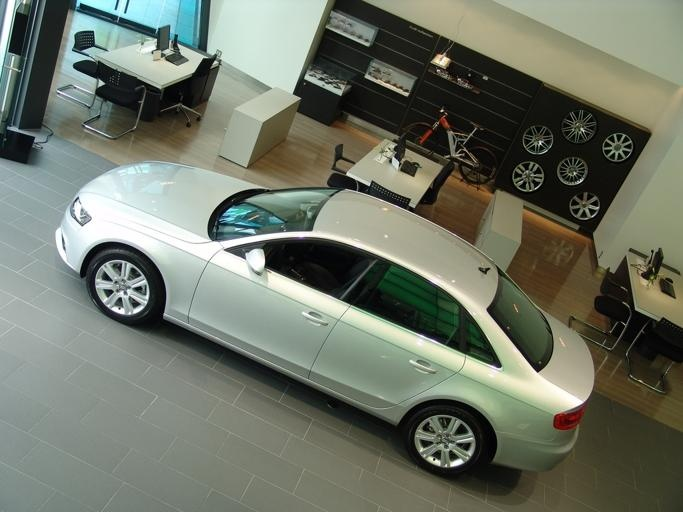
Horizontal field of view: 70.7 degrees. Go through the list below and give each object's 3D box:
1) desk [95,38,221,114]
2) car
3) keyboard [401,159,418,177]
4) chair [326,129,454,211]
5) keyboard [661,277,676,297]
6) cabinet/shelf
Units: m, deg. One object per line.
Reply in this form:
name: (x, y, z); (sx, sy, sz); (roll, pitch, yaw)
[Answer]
desk: (-3.525, -3.306, 9.181); (1.315, 1.099, 2.570); (23, 30, 1)
car: (-0.086, 0.734, 5.451); (5.982, 2.008, 2.613); (25, 31, -1)
keyboard: (1.197, -1.582, 8.712); (0.276, 0.086, 0.335); (21, 42, 0)
chair: (0.809, -1.393, 8.394); (1.514, 0.732, 2.162); (16, 40, 3)
keyboard: (5.783, 0.570, 8.593); (0.279, 0.034, 0.327); (24, 38, -2)
cabinet/shelf: (1.904, -4.042, 11.580); (4.498, 2.774, 0.802); (25, 25, -4)
